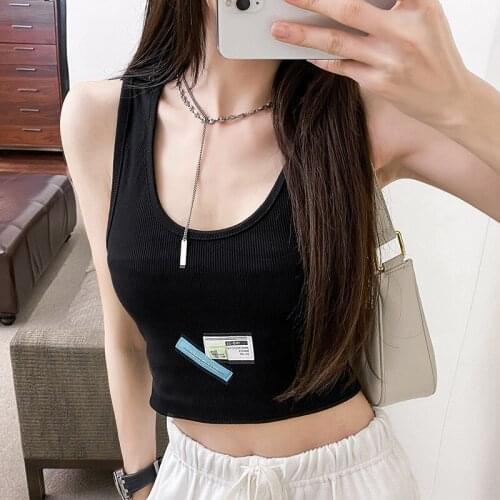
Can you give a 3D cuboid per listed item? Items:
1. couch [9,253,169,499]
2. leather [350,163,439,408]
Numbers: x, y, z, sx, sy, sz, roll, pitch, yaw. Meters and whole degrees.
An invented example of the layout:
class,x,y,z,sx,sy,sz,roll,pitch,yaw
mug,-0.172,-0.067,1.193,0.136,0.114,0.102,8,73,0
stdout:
class,x,y,z,sx,sy,sz,roll,pitch,yaw
couch,-0.492,0.517,1.721,0.416,0.532,0.804,-3,36,-6
leather,0.221,0.039,0.764,0.127,0.199,0.062,7,2,-25
